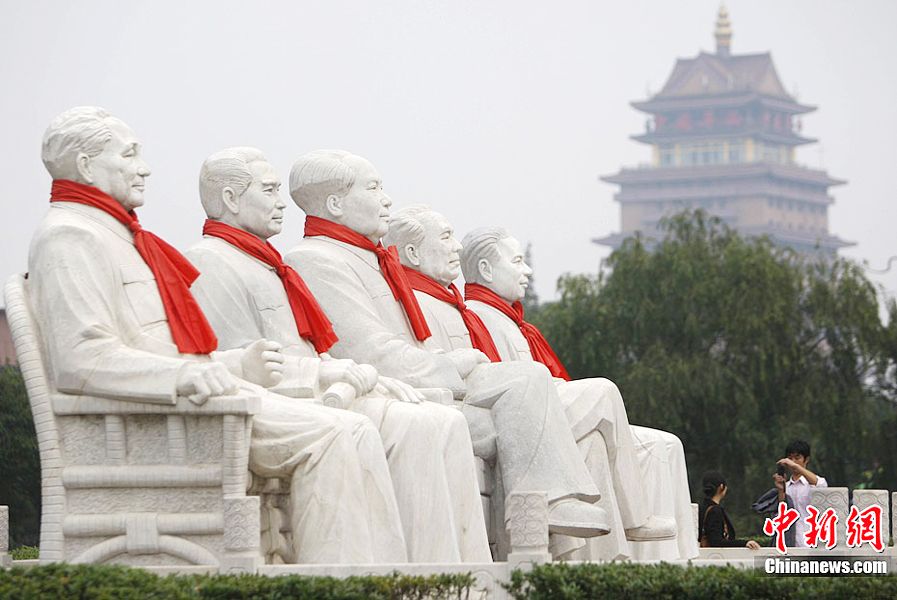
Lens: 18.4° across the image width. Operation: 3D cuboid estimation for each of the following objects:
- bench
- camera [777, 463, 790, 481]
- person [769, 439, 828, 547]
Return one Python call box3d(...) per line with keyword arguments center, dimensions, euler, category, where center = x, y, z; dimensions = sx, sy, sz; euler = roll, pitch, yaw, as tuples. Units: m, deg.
box3d(center=(-3.028, 1.873, 31.512), dimensions=(3.688, 2.273, 2.397), euler=(-1, -7, 3), category="bench")
box3d(center=(4.105, 2.085, 33.728), dimensions=(0.056, 0.203, 0.146), euler=(3, 24, -17), category="camera")
box3d(center=(4.339, 2.351, 33.902), dimensions=(0.528, 1.324, 1.115), euler=(-5, -14, 8), category="person")
